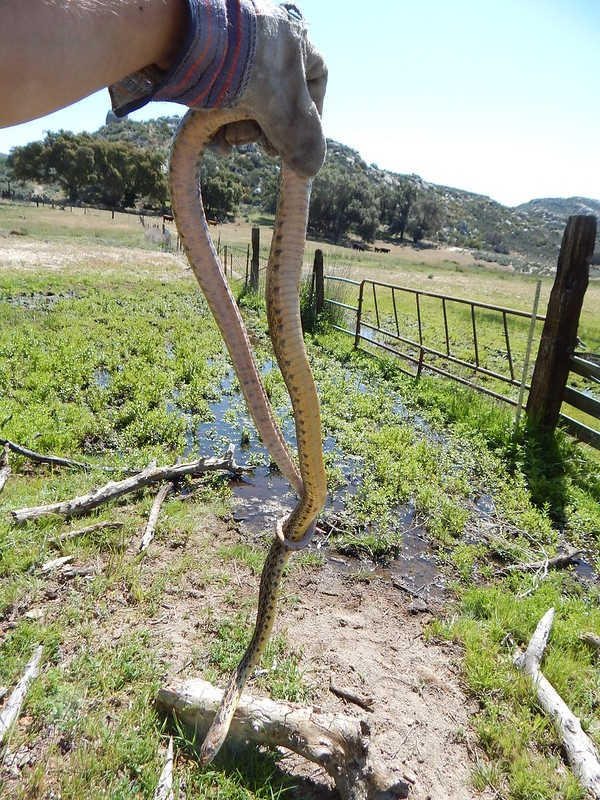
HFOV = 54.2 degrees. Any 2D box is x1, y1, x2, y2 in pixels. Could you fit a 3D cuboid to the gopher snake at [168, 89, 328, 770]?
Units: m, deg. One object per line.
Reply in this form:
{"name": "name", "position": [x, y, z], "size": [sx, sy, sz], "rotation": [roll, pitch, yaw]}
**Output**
{"name": "gopher snake", "position": [-0.156, 0.223, 2.137], "size": [0.480, 2.289, 0.292], "rotation": [2, 35, -4]}
